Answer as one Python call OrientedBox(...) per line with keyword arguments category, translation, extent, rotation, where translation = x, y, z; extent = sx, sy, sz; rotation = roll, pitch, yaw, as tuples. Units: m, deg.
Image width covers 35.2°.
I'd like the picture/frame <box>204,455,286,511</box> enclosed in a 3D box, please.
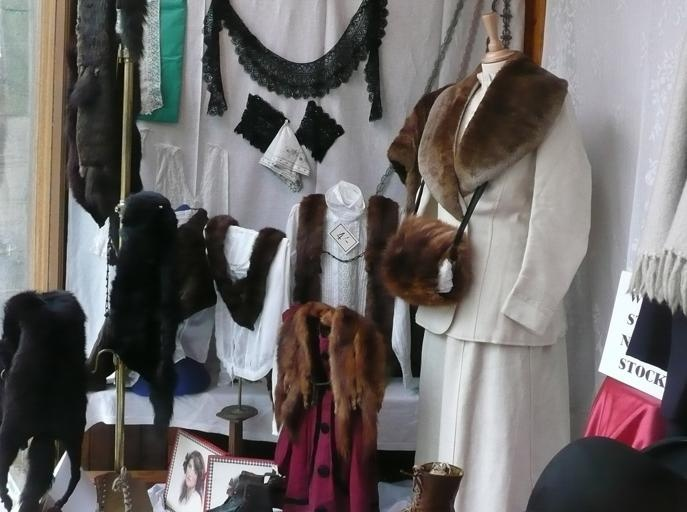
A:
OrientedBox(category="picture/frame", translation=(-0.325, 0.766, 3.625), extent=(0.169, 0.200, 0.031), rotation=(1, -23, 7))
